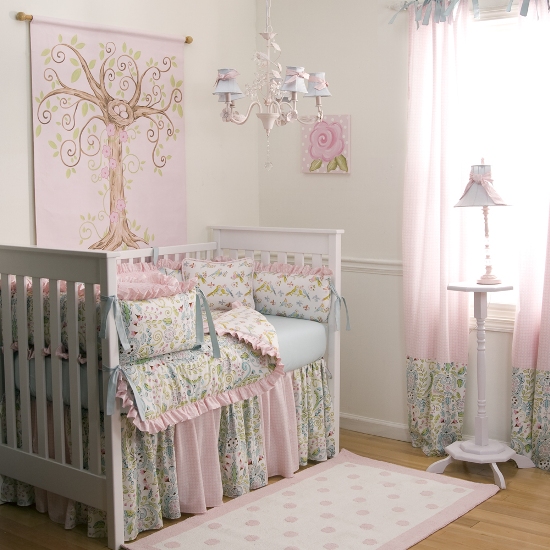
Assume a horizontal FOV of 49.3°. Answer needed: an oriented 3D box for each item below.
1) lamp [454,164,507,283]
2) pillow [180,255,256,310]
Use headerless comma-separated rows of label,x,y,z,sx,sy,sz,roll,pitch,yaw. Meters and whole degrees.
lamp,0.922,-0.249,2.714,0.226,0.564,0.408,1,3,21
pillow,-0.265,0.041,2.827,0.196,0.212,0.083,-2,-17,-5
